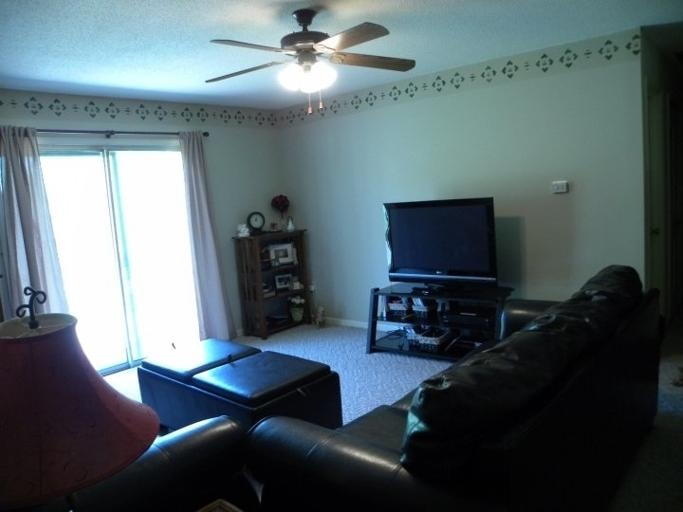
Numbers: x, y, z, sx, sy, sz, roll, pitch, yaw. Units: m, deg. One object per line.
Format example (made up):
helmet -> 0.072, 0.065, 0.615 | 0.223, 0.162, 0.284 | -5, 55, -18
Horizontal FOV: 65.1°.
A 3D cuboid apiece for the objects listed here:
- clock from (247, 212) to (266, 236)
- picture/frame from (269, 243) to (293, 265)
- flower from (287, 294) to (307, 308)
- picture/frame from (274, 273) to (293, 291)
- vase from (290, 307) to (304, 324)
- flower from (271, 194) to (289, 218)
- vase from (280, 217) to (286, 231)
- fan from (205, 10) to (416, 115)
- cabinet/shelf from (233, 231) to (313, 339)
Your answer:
clock -> -0.988, -0.369, 6.109 | 0.092, 0.344, 0.274 | -14, -13, 35
picture/frame -> -0.687, -0.024, 6.131 | 0.360, 0.204, 0.264 | -1, 2, -32
flower -> -0.522, 0.523, 6.303 | 0.165, 0.090, 0.190 | 2, 4, -1
picture/frame -> -0.666, 0.295, 6.254 | 0.273, 0.229, 0.145 | -4, -2, -34
vase -> -0.521, 0.684, 6.265 | 0.159, 0.175, 0.176 | 6, 10, 45
flower -> -0.717, -0.588, 6.378 | 0.241, 0.256, 0.258 | -1, -3, 39
vase -> -0.722, -0.398, 6.491 | 0.116, 0.147, 0.066 | -6, 6, 1
fan -> -0.104, -1.277, 3.517 | 0.938, 0.459, 0.957 | -1, -4, 1
cabinet/shelf -> -0.818, 0.312, 6.099 | 0.957, 1.231, 0.483 | -16, 18, -41
